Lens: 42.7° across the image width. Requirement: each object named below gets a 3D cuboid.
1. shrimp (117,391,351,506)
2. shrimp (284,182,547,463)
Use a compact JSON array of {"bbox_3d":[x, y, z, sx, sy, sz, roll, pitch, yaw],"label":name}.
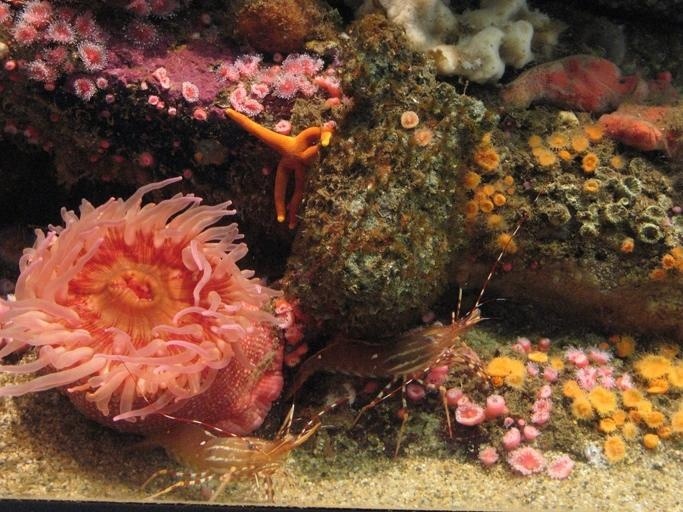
[{"bbox_3d":[-0.804,1.529,6.490,1.320,0.131,0.602,-5,73,-6],"label":"shrimp"},{"bbox_3d":[0.400,0.953,6.755,1.490,0.341,0.793,-8,73,-7],"label":"shrimp"}]
